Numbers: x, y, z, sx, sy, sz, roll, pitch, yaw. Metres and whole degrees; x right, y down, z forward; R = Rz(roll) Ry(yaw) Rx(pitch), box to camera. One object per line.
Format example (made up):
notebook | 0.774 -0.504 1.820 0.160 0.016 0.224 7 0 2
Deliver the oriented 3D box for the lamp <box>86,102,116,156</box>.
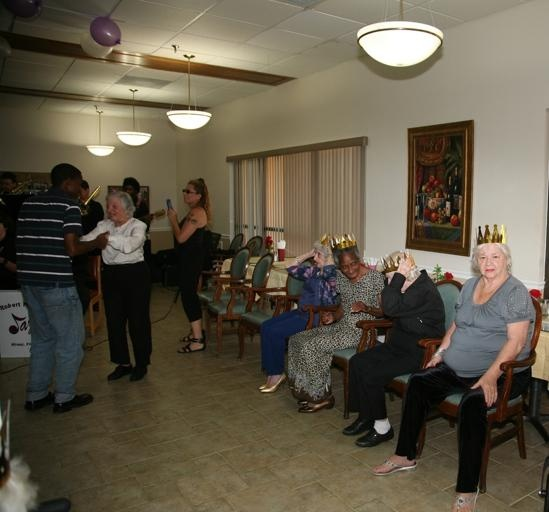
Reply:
lamp | -3.803 -2.700 9.043 0.517 0.949 0.496 -6 24 -33

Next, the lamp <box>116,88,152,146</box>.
lamp | -2.798 -2.781 8.238 0.659 1.036 0.637 -6 17 -38

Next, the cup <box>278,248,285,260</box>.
cup | 0.110 -0.024 6.349 0.151 0.221 0.150 2 1 0

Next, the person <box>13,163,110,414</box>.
person | -1.744 0.264 3.387 0.665 2.035 0.369 -2 5 -16

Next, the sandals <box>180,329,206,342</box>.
sandals | -1.068 1.005 5.188 0.450 0.102 0.156 1 -3 -23

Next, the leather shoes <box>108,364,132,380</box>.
leather shoes | -1.539 1.170 4.186 0.091 0.097 0.252 -2 -4 33

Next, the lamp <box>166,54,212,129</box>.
lamp | -1.268 -2.407 6.058 0.610 0.931 0.609 -5 17 -25

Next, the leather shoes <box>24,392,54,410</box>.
leather shoes | -1.960 1.229 3.485 0.091 0.096 0.233 3 5 20

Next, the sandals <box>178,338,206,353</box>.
sandals | -0.980 1.071 4.957 0.292 0.117 0.147 2 -1 -13

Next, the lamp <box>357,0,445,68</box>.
lamp | 0.821 -1.413 2.864 0.428 0.572 0.418 3 -1 -8

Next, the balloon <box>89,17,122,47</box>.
balloon | -1.721 -2.310 4.215 0.272 0.311 0.249 -3 5 -26
